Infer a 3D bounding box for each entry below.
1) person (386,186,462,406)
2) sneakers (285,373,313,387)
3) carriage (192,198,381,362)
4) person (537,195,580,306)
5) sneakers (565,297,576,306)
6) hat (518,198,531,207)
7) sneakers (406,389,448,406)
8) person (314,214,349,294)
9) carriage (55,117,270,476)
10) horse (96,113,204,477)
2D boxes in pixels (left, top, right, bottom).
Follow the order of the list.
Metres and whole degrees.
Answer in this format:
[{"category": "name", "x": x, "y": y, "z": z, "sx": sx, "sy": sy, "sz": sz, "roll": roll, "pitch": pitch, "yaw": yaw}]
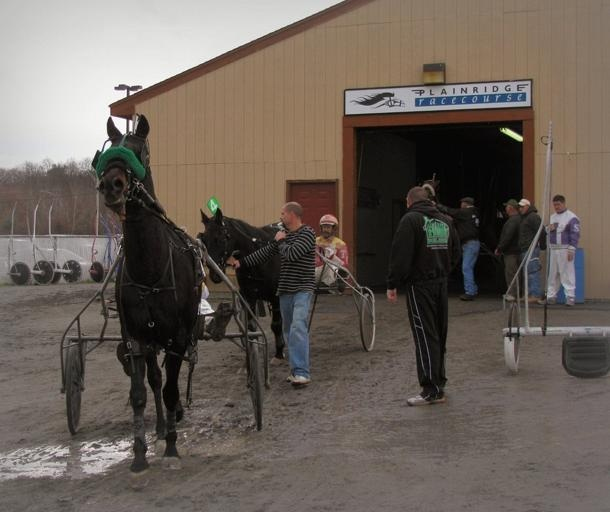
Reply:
[{"category": "person", "x": 1.154, "y": 0.372, "z": 6.753, "sx": 0.824, "sy": 2.062, "sz": 0.430, "roll": -3, "pitch": 3, "yaw": -25}, {"category": "sneakers", "x": -0.053, "y": 1.318, "z": 7.452, "sx": 0.253, "sy": 0.131, "sz": 0.299, "roll": -2, "pitch": 3, "yaw": -2}, {"category": "carriage", "x": -0.293, "y": 0.401, "z": 9.146, "sx": 1.264, "sy": 1.919, "sz": 2.743, "roll": -10, "pitch": -8, "yaw": 39}, {"category": "person", "x": 4.761, "y": -0.103, "z": 12.835, "sx": 0.526, "sy": 2.035, "sz": 1.044, "roll": 0, "pitch": 3, "yaw": 21}, {"category": "sneakers", "x": 4.946, "y": 0.848, "z": 12.956, "sx": 0.116, "sy": 0.168, "sz": 0.377, "roll": -2, "pitch": -8, "yaw": 23}, {"category": "hat", "x": 4.295, "y": -1.055, "z": 13.532, "sx": 0.254, "sy": 0.169, "sz": 0.170, "roll": 16, "pitch": -7, "yaw": -33}, {"category": "sneakers", "x": 1.160, "y": 1.361, "z": 6.606, "sx": 0.369, "sy": 0.199, "sz": 0.151, "roll": 1, "pitch": -2, "yaw": -5}, {"category": "person", "x": 0.525, "y": -0.038, "z": 9.612, "sx": 0.468, "sy": 0.974, "sz": 0.866, "roll": 0, "pitch": -4, "yaw": 6}, {"category": "carriage", "x": -1.308, "y": 0.474, "z": 6.183, "sx": 1.481, "sy": 2.616, "sz": 3.501, "roll": 0, "pitch": -7, "yaw": -4}, {"category": "horse", "x": -1.232, "y": 0.235, "z": 5.464, "sx": 0.496, "sy": 2.672, "sz": 1.362, "roll": -1, "pitch": 3, "yaw": 12}]
